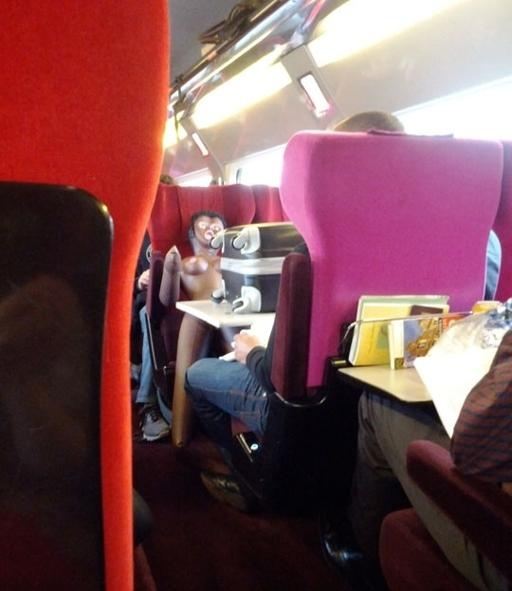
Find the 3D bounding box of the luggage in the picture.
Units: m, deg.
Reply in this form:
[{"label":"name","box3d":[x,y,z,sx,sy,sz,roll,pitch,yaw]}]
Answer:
[{"label":"luggage","box3d":[0.000,-0.120,1.879,0.307,0.344,0.427,-1,6,-23]}]

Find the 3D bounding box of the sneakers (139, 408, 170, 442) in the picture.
[{"label":"sneakers","box3d":[-0.498,0.623,2.220,0.074,0.111,0.223,0,-10,-22]}]
